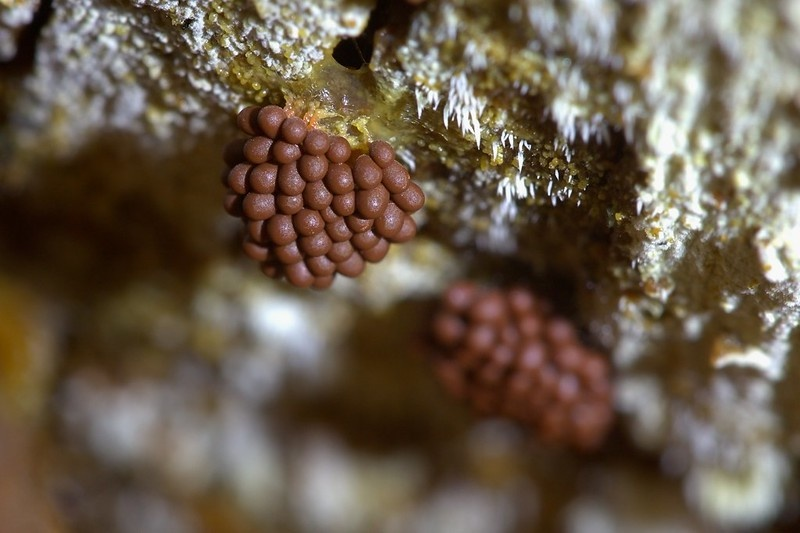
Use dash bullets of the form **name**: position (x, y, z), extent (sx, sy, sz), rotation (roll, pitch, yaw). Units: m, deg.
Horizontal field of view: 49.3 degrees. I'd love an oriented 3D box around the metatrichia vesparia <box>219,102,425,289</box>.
- **metatrichia vesparia**: position (-0.078, -0.066, 0.890), extent (0.146, 0.205, 0.140), rotation (7, 5, 42)
